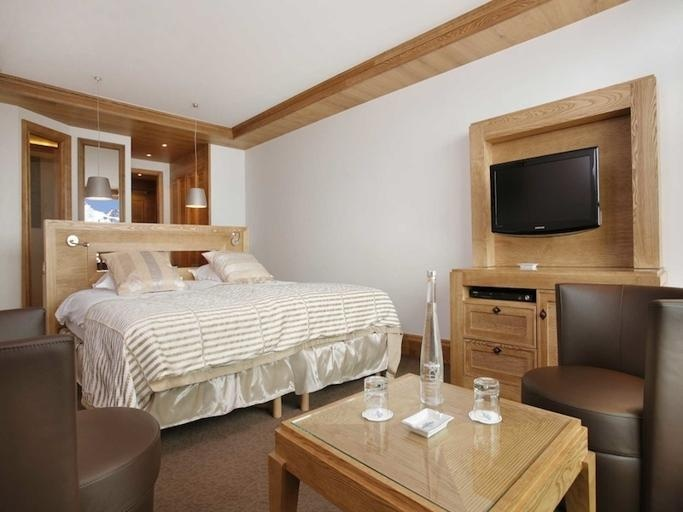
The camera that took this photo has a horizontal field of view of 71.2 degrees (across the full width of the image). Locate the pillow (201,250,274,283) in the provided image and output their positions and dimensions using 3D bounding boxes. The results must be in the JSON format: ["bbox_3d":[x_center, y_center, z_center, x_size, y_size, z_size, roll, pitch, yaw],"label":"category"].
[{"bbox_3d":[-1.012,0.112,4.830,0.441,0.131,0.431,2,26,-46],"label":"pillow"}]

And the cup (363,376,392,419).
[{"bbox_3d":[0.140,0.656,2.273,0.187,0.182,0.175,0,-2,0],"label":"cup"}]

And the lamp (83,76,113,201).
[{"bbox_3d":[-2.567,-1.263,5.023,0.249,1.234,0.260,2,7,-12],"label":"lamp"}]

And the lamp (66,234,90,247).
[{"bbox_3d":[-2.376,-0.139,4.288,0.135,0.078,0.081,5,2,18],"label":"lamp"}]

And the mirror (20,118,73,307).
[{"bbox_3d":[-3.868,-0.412,6.073,0.620,2.621,0.126,-1,0,31],"label":"mirror"}]

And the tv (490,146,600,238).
[{"bbox_3d":[1.638,-0.497,3.758,0.733,0.587,0.102,-4,1,36],"label":"tv"}]

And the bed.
[{"bbox_3d":[-1.282,0.600,3.772,1.999,1.253,1.913,0,-2,-44],"label":"bed"}]

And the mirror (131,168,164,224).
[{"bbox_3d":[-3.752,-1.089,9.142,0.512,0.947,2.253,-3,3,-24],"label":"mirror"}]

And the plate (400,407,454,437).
[{"bbox_3d":[0.391,0.735,2.123,0.110,0.034,0.148,4,5,42],"label":"plate"}]

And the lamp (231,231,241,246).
[{"bbox_3d":[-1.205,-0.218,5.433,0.110,0.138,0.038,5,-2,-42],"label":"lamp"}]
